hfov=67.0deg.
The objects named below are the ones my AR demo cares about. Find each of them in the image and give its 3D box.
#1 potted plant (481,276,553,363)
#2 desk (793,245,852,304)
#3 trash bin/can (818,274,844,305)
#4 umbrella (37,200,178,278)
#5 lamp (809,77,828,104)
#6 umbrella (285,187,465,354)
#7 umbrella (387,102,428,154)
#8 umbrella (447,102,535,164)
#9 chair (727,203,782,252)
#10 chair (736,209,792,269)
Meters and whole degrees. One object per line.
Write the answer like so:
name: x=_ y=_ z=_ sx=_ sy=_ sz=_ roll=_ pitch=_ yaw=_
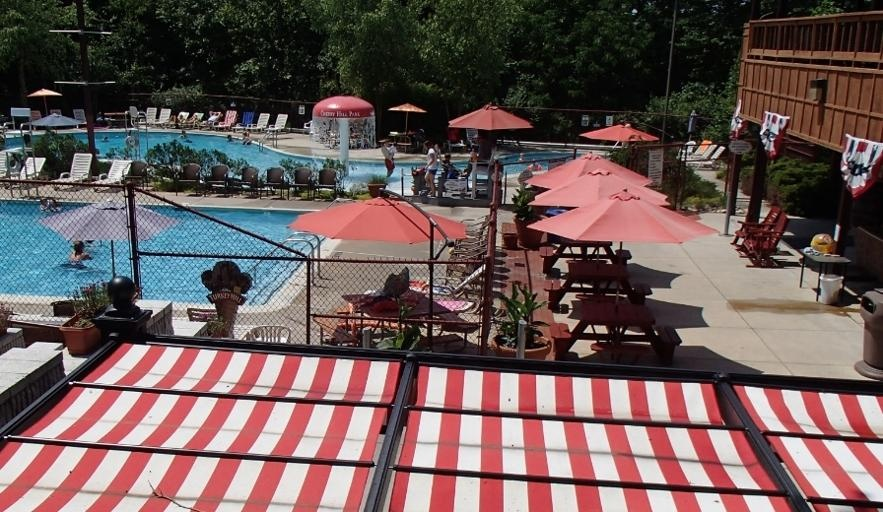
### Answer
potted plant: x=1.861 y=1.590 z=15.585 sx=1.199 sy=1.488 sz=1.304 roll=5 pitch=9 yaw=-2
desk: x=10.849 y=0.581 z=19.032 sx=0.789 sy=0.908 sz=1.419 roll=6 pitch=22 yaw=16
trash bin/can: x=10.622 y=0.915 z=18.482 sx=0.731 sy=0.775 sz=0.808 roll=1 pitch=8 yaw=4
umbrella: x=-10.224 y=-0.381 z=20.426 sx=2.444 sy=0.767 sz=2.251 roll=3 pitch=19 yaw=1
lamp: x=10.473 y=-4.586 z=18.613 sx=0.306 sy=0.683 sz=0.537 roll=3 pitch=20 yaw=3
umbrella: x=-1.355 y=-0.334 z=16.463 sx=2.883 sy=2.333 sz=2.798 roll=20 pitch=21 yaw=39
umbrella: x=-2.283 y=-8.507 z=43.333 sx=2.672 sy=2.732 sz=2.589 roll=4 pitch=14 yaw=0
umbrella: x=1.926 y=-5.206 z=28.132 sx=3.275 sy=2.126 sz=3.003 roll=1 pitch=20 yaw=-7
chair: x=10.701 y=-0.979 z=22.132 sx=1.788 sy=1.525 sz=1.311 roll=3 pitch=-7 yaw=45
chair: x=10.235 y=-0.681 z=21.565 sx=1.261 sy=1.517 sz=2.133 roll=9 pitch=20 yaw=18
